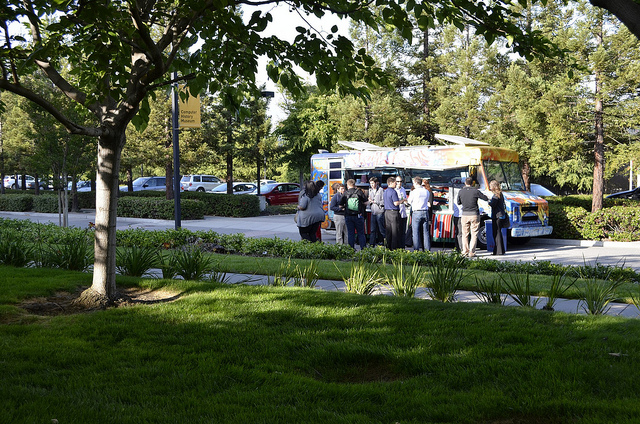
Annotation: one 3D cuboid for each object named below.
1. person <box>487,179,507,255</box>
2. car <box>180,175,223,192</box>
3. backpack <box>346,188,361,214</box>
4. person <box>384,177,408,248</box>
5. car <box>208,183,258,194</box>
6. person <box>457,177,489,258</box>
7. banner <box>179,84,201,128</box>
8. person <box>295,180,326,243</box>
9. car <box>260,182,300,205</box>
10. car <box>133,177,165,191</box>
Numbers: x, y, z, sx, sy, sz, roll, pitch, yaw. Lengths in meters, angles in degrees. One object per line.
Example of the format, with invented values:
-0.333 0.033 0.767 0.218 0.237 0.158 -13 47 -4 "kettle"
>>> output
5.080 0.183 19.311 0.467 2.099 0.641 0 -2 16 "person"
-8.573 -2.001 46.904 2.980 1.291 1.433 -10 12 -37 "car"
0.915 -0.256 19.200 0.352 0.647 0.603 -1 -7 3 "backpack"
2.111 0.038 19.437 0.536 2.001 0.650 0 -2 12 "person"
-5.608 -1.439 42.701 1.110 0.987 2.474 0 -2 44 "car"
4.281 0.162 19.088 0.768 2.207 1.197 0 -2 12 "person"
-4.431 -3.629 22.539 0.817 1.722 0.174 -3 39 -15 "banner"
-0.268 -0.023 18.553 0.732 1.686 0.748 0 -2 -1 "person"
-2.372 -1.069 38.531 2.599 0.952 1.174 2 -3 -42 "car"
-11.749 -1.897 45.355 2.199 1.219 1.408 3 0 0 "car"
